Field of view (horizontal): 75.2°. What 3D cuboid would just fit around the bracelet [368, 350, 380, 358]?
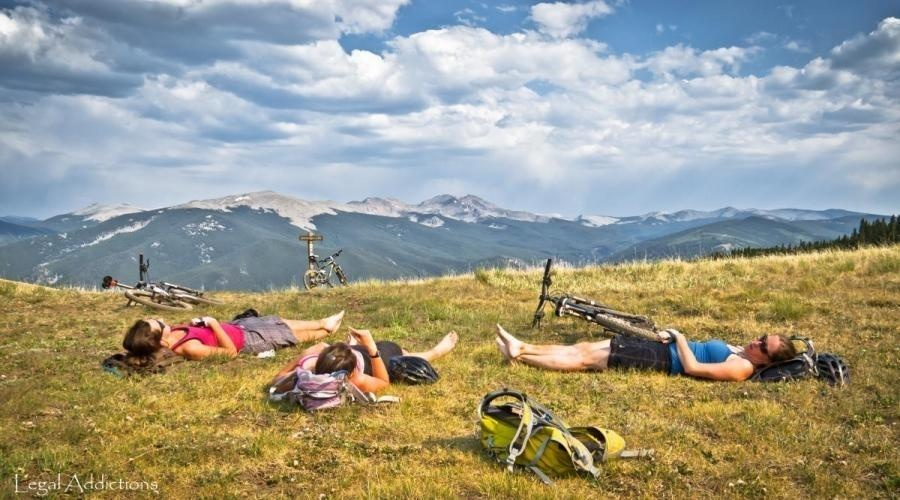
[{"bbox_3d":[-2.321,3.194,17.978,0.268,0.166,0.272,2,-10,-7],"label":"bracelet"}]
